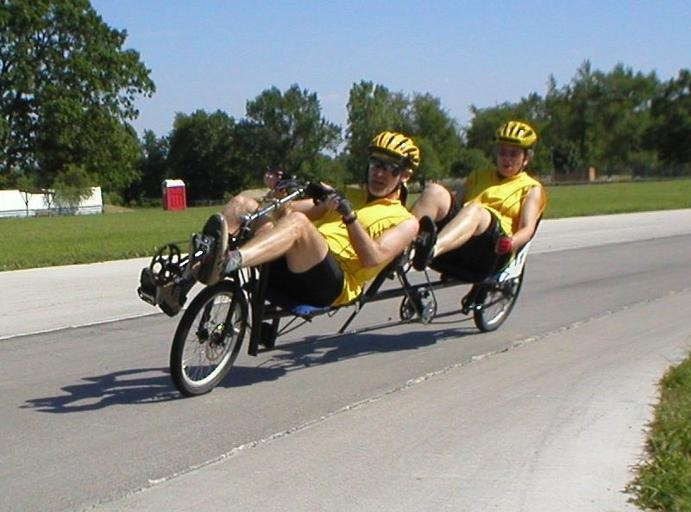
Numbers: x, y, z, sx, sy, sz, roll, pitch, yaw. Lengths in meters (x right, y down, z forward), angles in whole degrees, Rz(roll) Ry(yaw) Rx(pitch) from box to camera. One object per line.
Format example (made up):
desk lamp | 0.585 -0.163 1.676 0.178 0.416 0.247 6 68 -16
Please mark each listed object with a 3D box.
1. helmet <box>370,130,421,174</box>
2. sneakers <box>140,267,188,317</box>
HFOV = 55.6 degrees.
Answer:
helmet | 0.445 -0.971 5.966 0.310 0.415 0.423 19 -17 28
sneakers | -1.361 0.272 5.063 0.388 0.294 0.282 -19 47 -38
